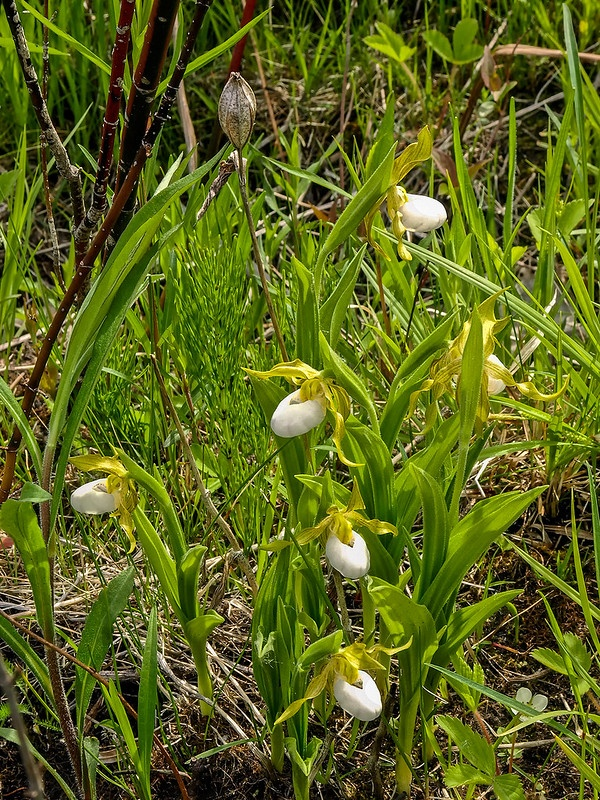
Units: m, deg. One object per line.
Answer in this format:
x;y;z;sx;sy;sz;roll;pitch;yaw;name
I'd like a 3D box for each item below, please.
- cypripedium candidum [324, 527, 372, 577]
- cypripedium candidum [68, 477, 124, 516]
0.070;0.241;1.153;0.064;0.094;0.080;-2;57;-5;cypripedium candidum
-0.337;0.178;1.255;0.066;0.034;0.054;-23;44;-28;cypripedium candidum
